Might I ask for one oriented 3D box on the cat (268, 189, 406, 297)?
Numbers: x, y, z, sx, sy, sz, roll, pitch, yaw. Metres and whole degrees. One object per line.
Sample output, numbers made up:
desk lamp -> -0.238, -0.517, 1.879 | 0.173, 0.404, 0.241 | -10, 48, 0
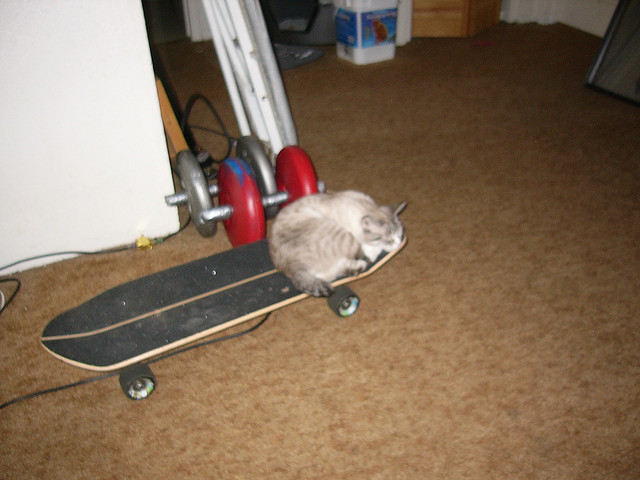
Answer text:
cat -> 0.063, -0.018, 2.357 | 0.520, 0.241, 0.361 | -26, 50, -20

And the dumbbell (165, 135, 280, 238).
dumbbell -> -0.470, -0.207, 2.670 | 0.546, 0.432, 0.349 | -21, 18, -29

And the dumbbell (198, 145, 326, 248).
dumbbell -> -0.238, -0.171, 2.594 | 0.530, 0.375, 0.397 | -11, 77, -31
